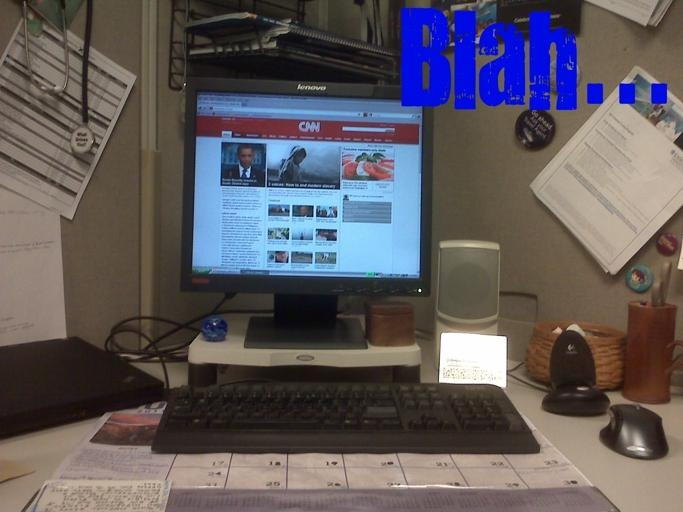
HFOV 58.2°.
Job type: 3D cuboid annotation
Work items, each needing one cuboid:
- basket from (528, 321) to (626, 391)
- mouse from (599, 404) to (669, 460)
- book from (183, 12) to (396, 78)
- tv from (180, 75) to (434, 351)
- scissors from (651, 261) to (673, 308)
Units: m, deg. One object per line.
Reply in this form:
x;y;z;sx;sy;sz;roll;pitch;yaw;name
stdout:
0.444;0.176;1.175;0.129;0.087;0.140;2;-2;6;basket
0.469;0.265;0.974;0.100;0.051;0.148;0;10;24;mouse
-0.089;-0.436;1.336;0.473;0.094;0.189;1;3;-27;book
-0.063;-0.080;1.205;0.463;0.538;0.172;2;-13;-4;tv
0.590;0.058;1.126;0.015;0.078;0.021;8;14;21;scissors
